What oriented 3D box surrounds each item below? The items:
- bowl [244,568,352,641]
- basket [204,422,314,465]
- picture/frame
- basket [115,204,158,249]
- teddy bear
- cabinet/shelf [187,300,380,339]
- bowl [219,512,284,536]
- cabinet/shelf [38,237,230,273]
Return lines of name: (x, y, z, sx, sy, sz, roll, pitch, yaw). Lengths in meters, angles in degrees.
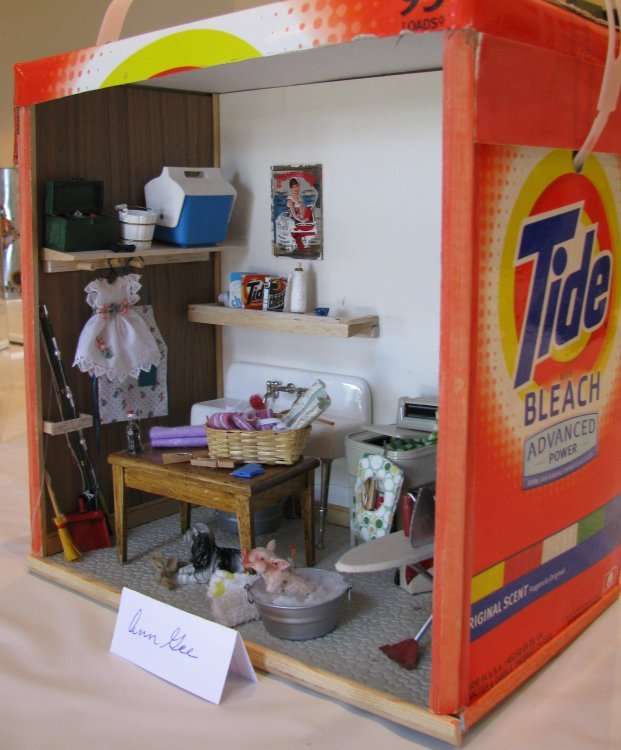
bowl: (-0.035, 0.944, 2.736, 0.426, 0.188, 0.422, -5, 5, 0)
basket: (-0.254, 0.325, 3.086, 0.488, 0.168, 0.123, 0, 6, 0)
picture/frame: (-0.076, -0.999, 3.978, 0.542, 0.701, 0.079, 12, 19, 36)
basket: (-0.936, -0.813, 3.607, 0.272, 0.248, 0.248, 11, 17, 36)
teddy bear: (-0.367, 0.863, 2.941, 0.411, 0.182, 0.561, -4, 14, -20)
cabinet/shelf: (-0.194, -0.328, 3.957, 1.194, 0.183, 0.315, 4, 7, 34)
bowl: (-0.358, 0.854, 3.875, 0.226, 0.158, 0.225, -2, 2, 0)
cabinet/shelf: (-0.948, -0.669, 3.734, 0.346, 0.211, 1.186, 4, 7, 32)
